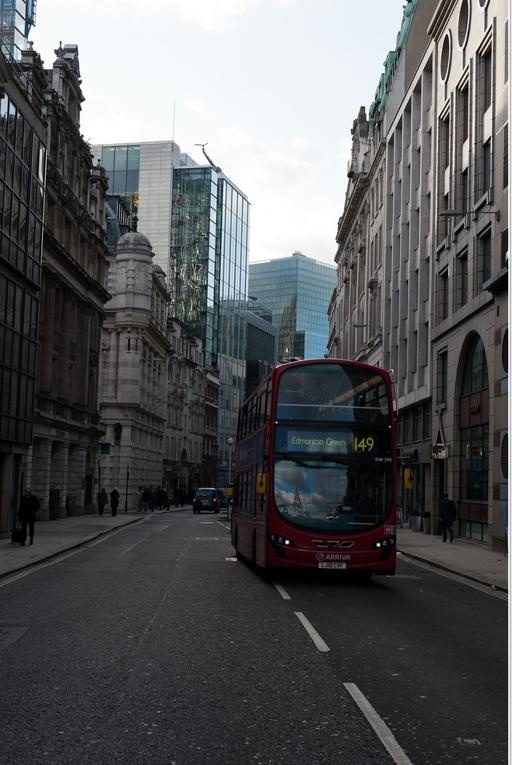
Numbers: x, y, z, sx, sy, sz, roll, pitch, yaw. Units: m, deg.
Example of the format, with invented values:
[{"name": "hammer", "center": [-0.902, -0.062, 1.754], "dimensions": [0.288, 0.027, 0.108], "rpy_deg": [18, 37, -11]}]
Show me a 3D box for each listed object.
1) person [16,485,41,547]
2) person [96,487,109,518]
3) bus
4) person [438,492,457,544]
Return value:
[{"name": "person", "center": [-7.107, 4.146, 22.573], "dimensions": [0.532, 2.114, 0.437], "rpy_deg": [-3, 19, -31]}, {"name": "person", "center": [-10.560, 8.235, 49.724], "dimensions": [0.575, 1.849, 3.216], "rpy_deg": [3, -9, -14]}, {"name": "bus", "center": [1.241, 1.697, 13.767], "dimensions": [1.560, 3.935, 6.603], "rpy_deg": [1, -16, -4]}, {"name": "person", "center": [7.549, 5.301, 28.453], "dimensions": [0.573, 1.965, 3.374], "rpy_deg": [0, -9, 15]}]
